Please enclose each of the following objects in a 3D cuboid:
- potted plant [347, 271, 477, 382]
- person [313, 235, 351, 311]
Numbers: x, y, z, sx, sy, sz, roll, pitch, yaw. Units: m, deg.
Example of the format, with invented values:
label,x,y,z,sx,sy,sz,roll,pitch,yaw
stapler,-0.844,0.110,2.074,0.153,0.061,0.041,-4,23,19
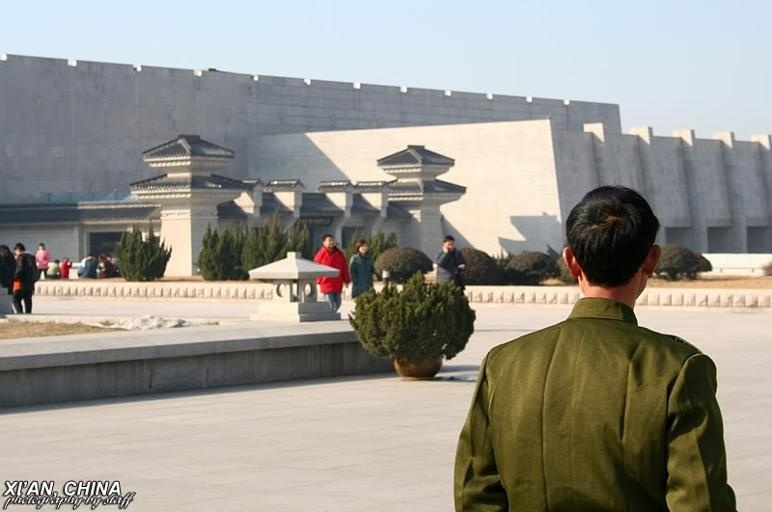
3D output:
label,x,y,z,sx,sy,sz,roll,pitch,yaw
potted plant,0.467,1.107,21.645,1.691,1.303,1.625,-2,-8,1
person,-1.003,0.346,25.563,0.668,1.492,1.718,-1,11,-2
